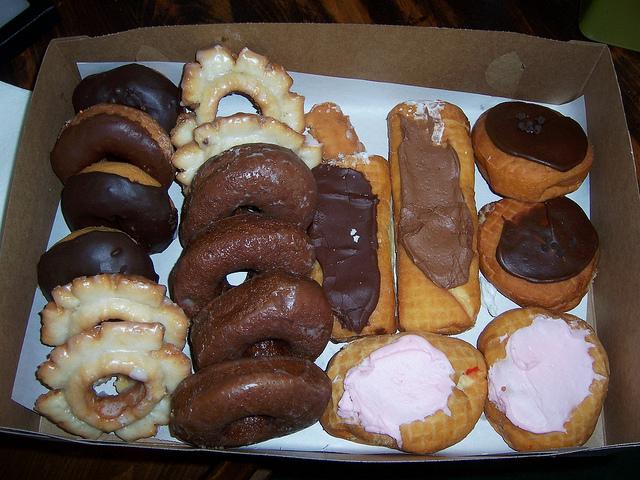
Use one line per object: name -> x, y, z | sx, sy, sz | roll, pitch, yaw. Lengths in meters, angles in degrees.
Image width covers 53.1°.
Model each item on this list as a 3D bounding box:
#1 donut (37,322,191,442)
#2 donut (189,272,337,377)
donut -> -0.787, 0.542, 2.512 | 0.514, 0.535, 0.152 | 4, 23, -17
donut -> -0.178, 0.326, 2.429 | 0.445, 0.456, 0.155 | 18, 41, -21
